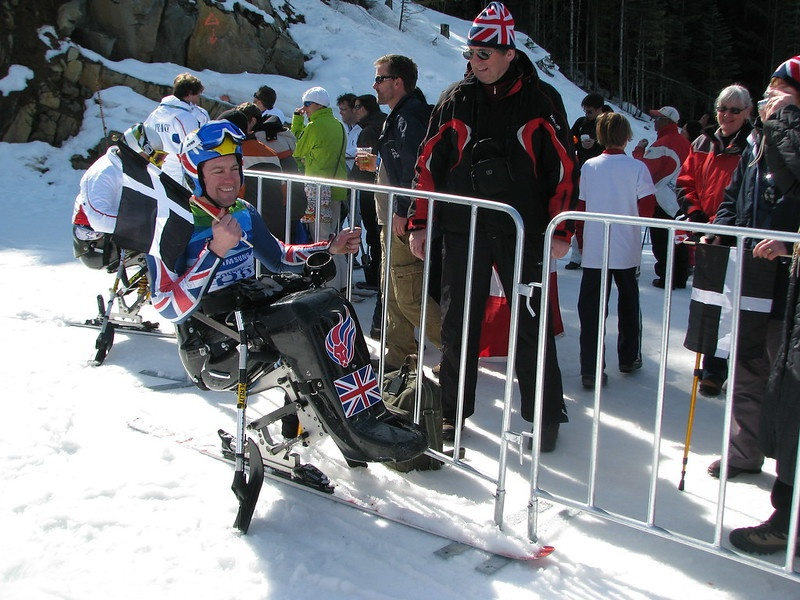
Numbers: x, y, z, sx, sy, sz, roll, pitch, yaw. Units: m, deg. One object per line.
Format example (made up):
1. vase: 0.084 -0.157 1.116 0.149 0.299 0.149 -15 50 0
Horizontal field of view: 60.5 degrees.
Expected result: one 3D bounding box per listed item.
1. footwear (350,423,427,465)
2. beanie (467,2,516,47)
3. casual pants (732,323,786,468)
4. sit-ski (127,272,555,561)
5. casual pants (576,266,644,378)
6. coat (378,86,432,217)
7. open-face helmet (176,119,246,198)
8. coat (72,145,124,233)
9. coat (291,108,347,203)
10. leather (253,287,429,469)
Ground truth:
1. footwear: -0.047 0.790 3.882 0.279 0.159 0.469 -14 -1 -5
2. beanie: 0.547 -1.669 4.200 0.346 0.240 0.239 2 33 -17
3. casual pants: 2.116 0.725 4.208 0.222 0.670 0.169 13 12 17
4. sit-ski: -0.747 0.418 4.260 2.909 1.055 1.023 18 14 31
5. casual pants: 1.666 -0.010 5.448 0.479 1.305 0.334 -3 -8 17
6. coat: 0.036 -1.097 5.080 0.503 1.040 1.130 3 11 2
7. open-face helmet: -1.057 -0.856 4.030 0.367 0.390 0.445 -11 18 -33
8. coat: -2.399 -0.864 5.496 0.311 0.760 0.772 -3 15 -24
9. coat: -0.844 -1.659 7.310 0.511 0.760 0.497 8 23 22
10. leather: -0.390 0.342 3.940 0.463 0.872 1.390 -25 31 -34
